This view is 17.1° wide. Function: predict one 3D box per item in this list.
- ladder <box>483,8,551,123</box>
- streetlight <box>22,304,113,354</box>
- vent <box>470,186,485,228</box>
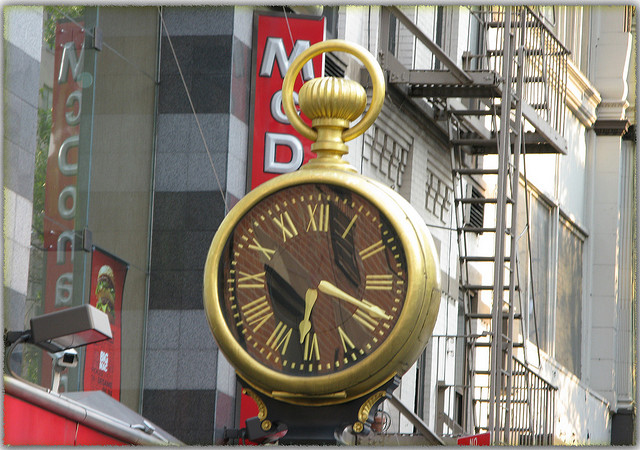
[{"bbox_3d":[3.647,-3.012,38.360,0.742,2.928,0.776,-6,5,-19],"label":"ladder"},{"bbox_3d":[-3.196,1.422,27.921,0.881,0.704,0.748,-1,-7,19],"label":"streetlight"},{"bbox_3d":[2.944,-0.303,40.013,0.092,1.100,0.725,2,6,21],"label":"vent"}]
